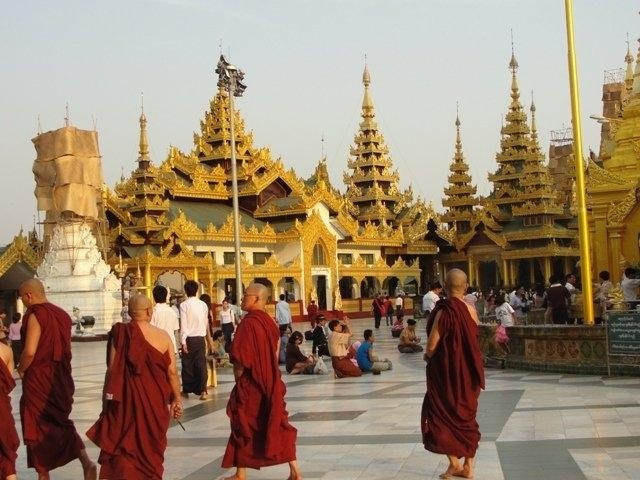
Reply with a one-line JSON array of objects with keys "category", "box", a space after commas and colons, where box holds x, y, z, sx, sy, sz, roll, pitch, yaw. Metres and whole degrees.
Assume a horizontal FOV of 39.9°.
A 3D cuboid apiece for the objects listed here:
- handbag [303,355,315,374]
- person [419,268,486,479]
[{"category": "handbag", "box": [-0.197, 2.418, 17.103, 0.113, 0.280, 0.228, 7, -4, 12]}, {"category": "person", "box": [1.356, 1.495, 9.040, 0.644, 1.796, 0.399, -2, -3, 6]}]
